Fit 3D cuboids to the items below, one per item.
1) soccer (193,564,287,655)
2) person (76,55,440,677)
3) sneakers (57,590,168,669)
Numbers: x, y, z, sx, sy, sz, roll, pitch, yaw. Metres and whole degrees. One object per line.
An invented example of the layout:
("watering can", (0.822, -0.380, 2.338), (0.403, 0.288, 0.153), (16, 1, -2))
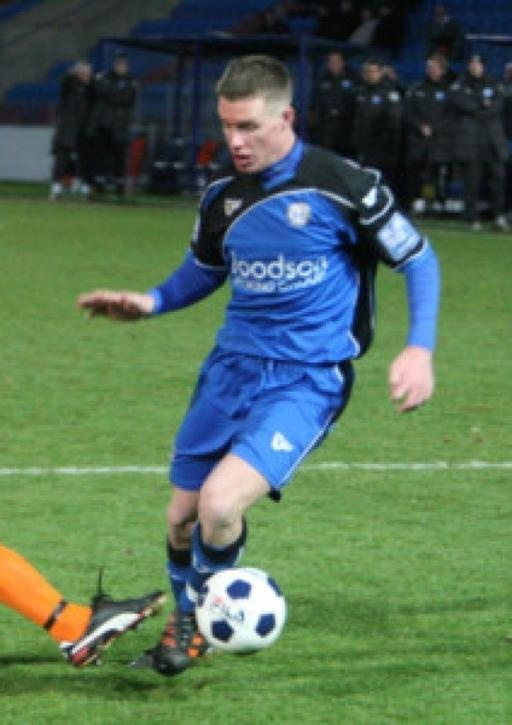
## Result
("soccer", (-0.055, 0.650, 3.354), (0.251, 0.242, 0.221), (1, 3, -14))
("person", (0.064, -0.008, 3.482), (0.903, 1.668, 0.761), (0, 14, -7))
("sneakers", (-0.413, 0.740, 3.500), (0.331, 0.108, 0.160), (-32, 69, -36))
